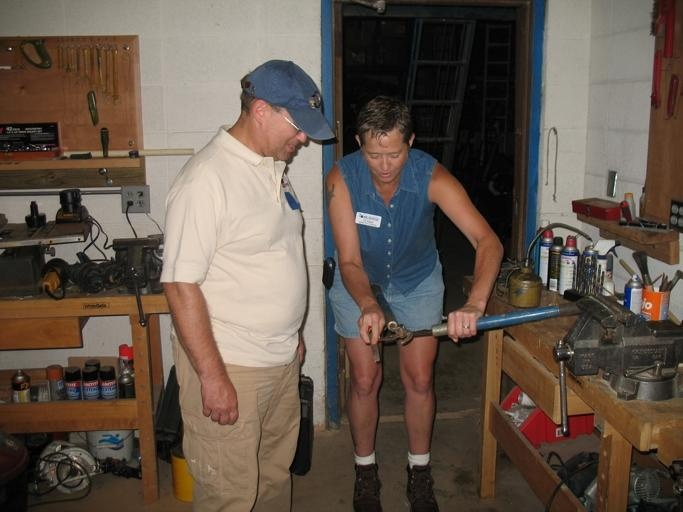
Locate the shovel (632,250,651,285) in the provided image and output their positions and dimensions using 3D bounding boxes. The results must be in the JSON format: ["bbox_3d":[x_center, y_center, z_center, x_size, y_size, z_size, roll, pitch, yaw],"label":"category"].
[{"bbox_3d":[1.457,0.058,3.022,0.046,0.156,0.046,-21,19,13],"label":"shovel"}]

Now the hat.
[{"bbox_3d":[-0.250,-0.650,2.795,0.422,0.193,0.288,37,32,-1],"label":"hat"}]

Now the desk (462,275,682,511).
[{"bbox_3d":[1.093,0.642,2.910,0.575,0.726,1.096,-4,18,-8],"label":"desk"}]
